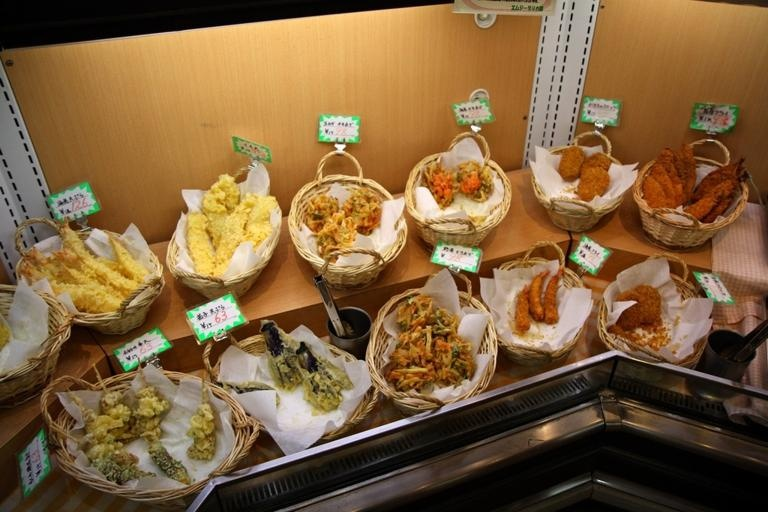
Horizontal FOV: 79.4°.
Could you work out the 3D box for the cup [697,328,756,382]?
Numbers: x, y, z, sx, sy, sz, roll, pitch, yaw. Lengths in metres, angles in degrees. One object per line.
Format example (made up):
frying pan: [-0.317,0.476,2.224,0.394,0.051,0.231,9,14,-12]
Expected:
cup: [1.679,0.517,2.393,0.231,0.256,0.245,-4,49,5]

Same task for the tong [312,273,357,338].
tong: [-0.270,0.233,2.342,0.144,0.380,0.233,-23,35,-26]
